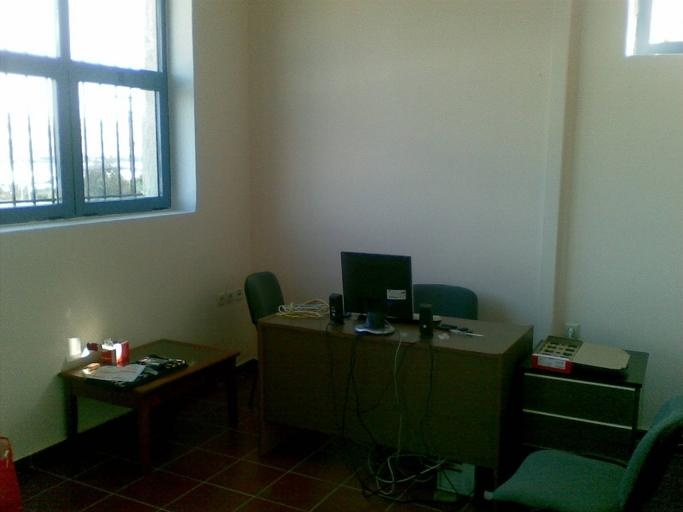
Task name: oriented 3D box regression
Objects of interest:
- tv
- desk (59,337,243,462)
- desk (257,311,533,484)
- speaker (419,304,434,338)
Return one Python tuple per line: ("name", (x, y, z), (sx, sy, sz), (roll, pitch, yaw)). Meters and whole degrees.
("tv", (0.245, 0.264, 4.017), (0.530, 0.538, 0.178), (2, 26, 17))
("desk", (-1.472, 1.112, 4.585), (0.970, 0.568, 1.184), (3, 6, 17))
("desk", (0.447, 1.053, 4.409), (1.903, 1.038, 0.931), (0, 7, 34))
("speaker", (0.584, 0.438, 3.967), (0.092, 0.206, 0.169), (-1, 11, 8))
